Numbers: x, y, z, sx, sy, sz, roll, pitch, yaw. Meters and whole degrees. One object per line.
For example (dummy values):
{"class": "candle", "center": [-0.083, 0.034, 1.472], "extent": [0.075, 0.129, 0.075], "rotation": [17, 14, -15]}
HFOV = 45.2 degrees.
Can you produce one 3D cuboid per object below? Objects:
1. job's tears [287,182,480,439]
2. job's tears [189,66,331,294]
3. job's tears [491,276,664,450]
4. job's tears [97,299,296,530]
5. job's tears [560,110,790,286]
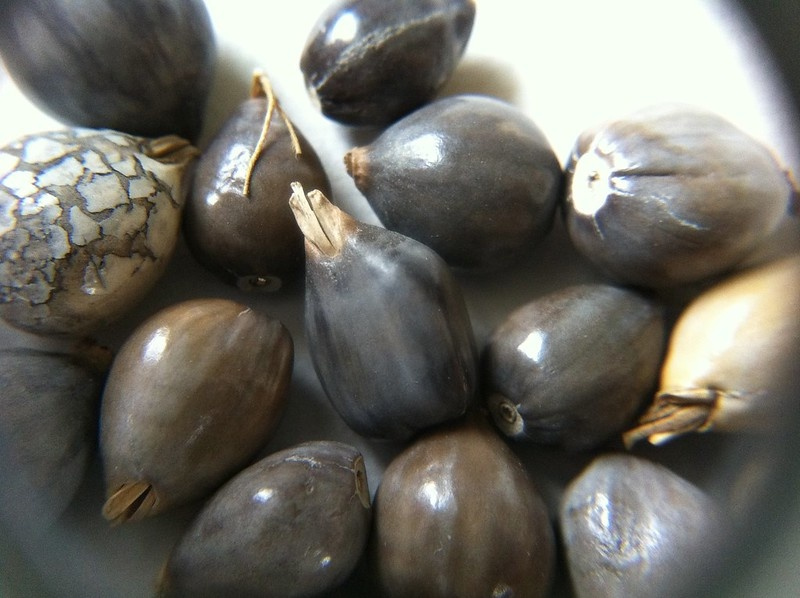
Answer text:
{"class": "job's tears", "center": [-0.022, 0.011, 1.085], "extent": [0.174, 0.187, 0.310], "rotation": [-21, 101, -26]}
{"class": "job's tears", "center": [-0.178, -0.144, 1.130], "extent": [0.151, 0.163, 0.251], "rotation": [21, 112, 22]}
{"class": "job's tears", "center": [0.202, 0.064, 1.091], "extent": [0.189, 0.150, 0.144], "rotation": [-32, 37, -16]}
{"class": "job's tears", "center": [-0.220, 0.117, 1.076], "extent": [0.167, 0.137, 0.236], "rotation": [31, 87, 11]}
{"class": "job's tears", "center": [0.295, -0.107, 1.024], "extent": [0.210, 0.135, 0.181], "rotation": [-3, 94, -4]}
